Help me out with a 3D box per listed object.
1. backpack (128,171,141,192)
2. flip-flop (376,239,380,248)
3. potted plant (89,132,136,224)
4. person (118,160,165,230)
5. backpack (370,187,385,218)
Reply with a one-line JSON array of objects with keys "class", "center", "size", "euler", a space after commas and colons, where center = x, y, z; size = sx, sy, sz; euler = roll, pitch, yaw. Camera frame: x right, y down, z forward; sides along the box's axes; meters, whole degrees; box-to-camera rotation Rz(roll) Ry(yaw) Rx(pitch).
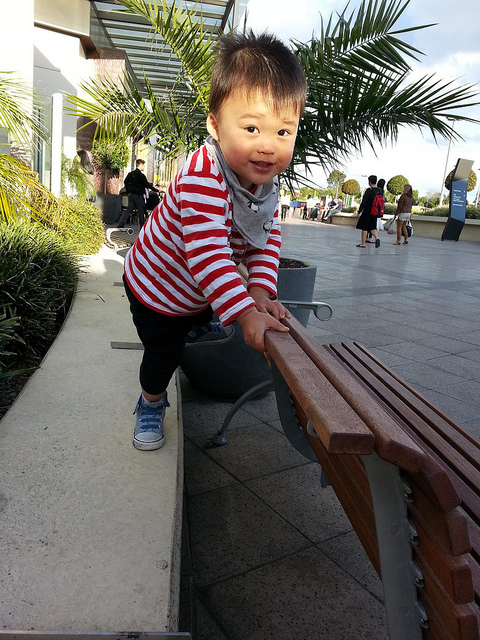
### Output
[{"class": "backpack", "center": [-2.799, -3.653, 10.460], "size": [0.426, 0.584, 0.315], "euler": [4, 11, 16]}, {"class": "flip-flop", "center": [4.271, -2.359, 12.230], "size": [0.077, 0.246, 0.184], "euler": [15, 13, 30]}, {"class": "potted plant", "center": [-4.473, -4.791, 13.639], "size": [1.246, 2.664, 1.109], "euler": [19, 16, 40]}, {"class": "person", "center": [-2.699, -3.354, 10.748], "size": [1.116, 1.786, 0.653], "euler": [4, 23, -9]}, {"class": "backpack", "center": [4.202, -3.550, 12.035], "size": [0.293, 0.830, 1.105], "euler": [15, 13, 29]}]
